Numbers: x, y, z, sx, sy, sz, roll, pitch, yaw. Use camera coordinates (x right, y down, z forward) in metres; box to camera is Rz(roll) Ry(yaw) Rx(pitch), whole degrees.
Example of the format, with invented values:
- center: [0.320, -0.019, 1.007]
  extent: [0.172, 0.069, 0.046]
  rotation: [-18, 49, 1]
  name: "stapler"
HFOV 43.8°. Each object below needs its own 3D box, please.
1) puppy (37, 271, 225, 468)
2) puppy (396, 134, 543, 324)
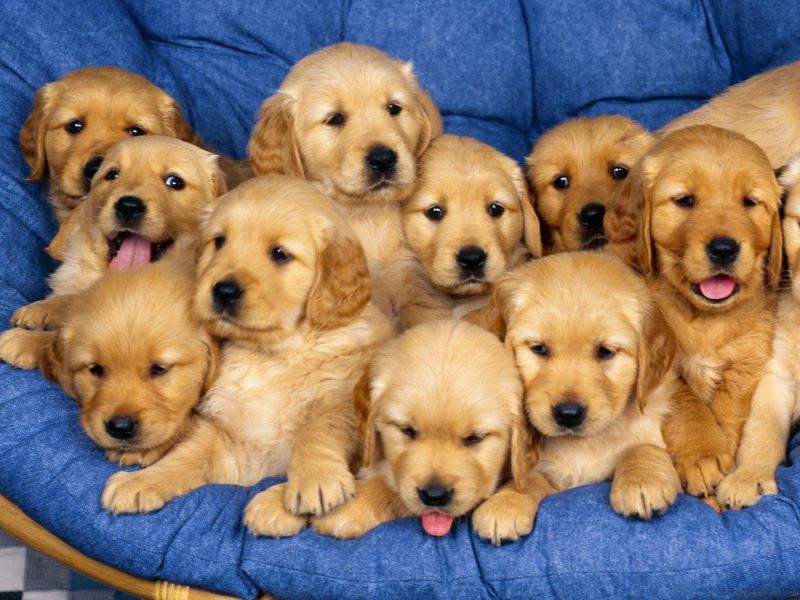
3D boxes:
- center: [-1.203, 0.328, 4.532]
  extent: [0.658, 0.513, 0.911]
  rotation: [0, 33, -2]
  name: "puppy"
- center: [0.406, -0.334, 5.326]
  extent: [0.679, 0.955, 0.562]
  rotation: [-2, -11, 1]
  name: "puppy"
